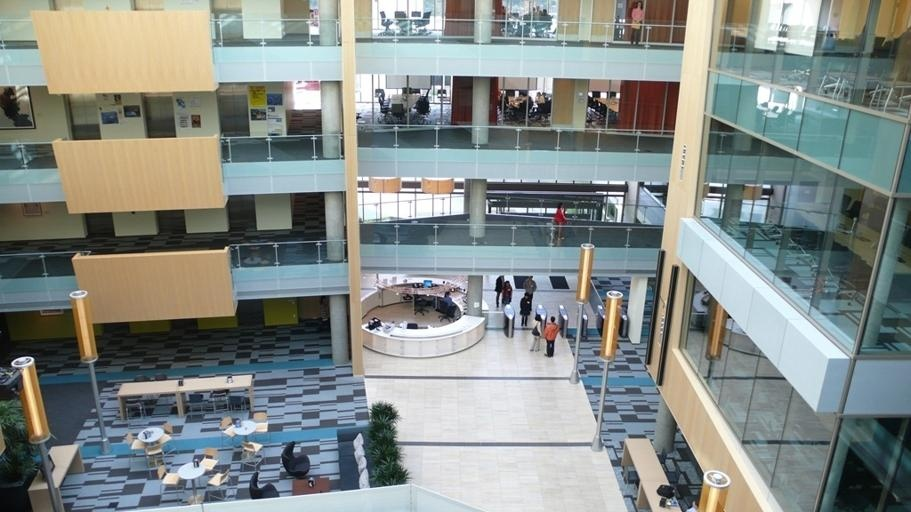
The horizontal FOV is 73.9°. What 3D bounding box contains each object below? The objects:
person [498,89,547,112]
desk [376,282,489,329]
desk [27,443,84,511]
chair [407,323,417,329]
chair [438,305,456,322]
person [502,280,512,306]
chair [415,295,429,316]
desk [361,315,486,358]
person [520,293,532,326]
[{"bbox_3d":[3.412,-7.647,29.375,2.144,1.150,0.398,4,12,25],"label":"person"},{"bbox_3d":[-0.962,2.749,28.899,4.355,0.841,2.037,8,33,18],"label":"desk"},{"bbox_3d":[-12.439,6.927,18.695,0.881,0.880,2.625,-1,21,-6],"label":"desk"},{"bbox_3d":[-1.845,3.001,25.921,0.282,0.247,0.433,2,-2,-1],"label":"chair"},{"bbox_3d":[-0.345,2.653,27.625,0.866,0.775,0.750,2,11,6],"label":"chair"},{"bbox_3d":[2.379,1.769,27.841,0.380,1.206,0.555,-6,21,-2],"label":"person"},{"bbox_3d":[-1.747,2.354,28.219,1.004,0.904,0.816,0,17,-5],"label":"chair"},{"bbox_3d":[-1.077,3.481,25.902,5.178,0.797,2.281,-6,20,-16],"label":"desk"},{"bbox_3d":[3.122,2.426,27.000,0.606,1.468,0.362,-18,25,-32],"label":"person"}]
